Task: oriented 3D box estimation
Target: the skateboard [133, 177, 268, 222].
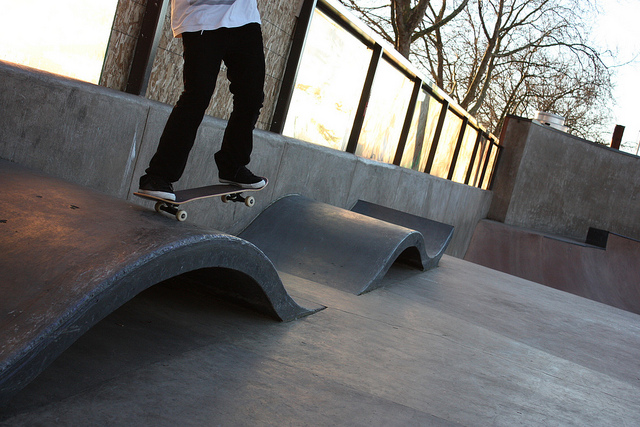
[{"bbox_3d":[-0.820,-0.184,3.902,0.396,0.270,1.448,22,17,32],"label":"skateboard"}]
